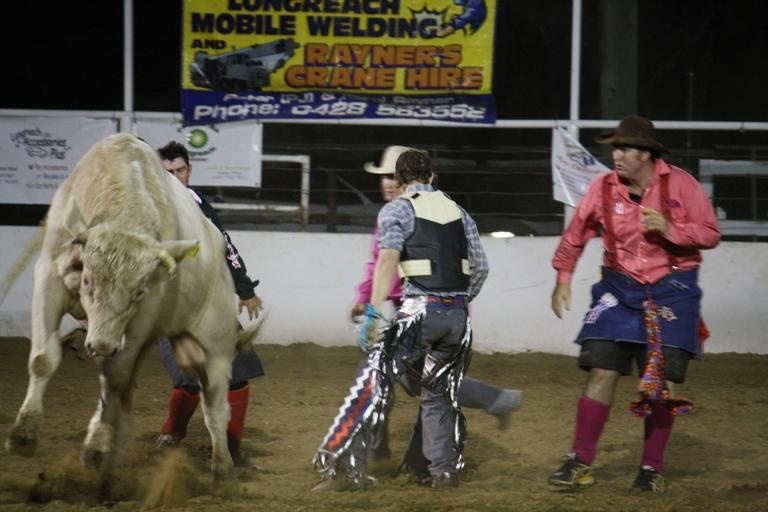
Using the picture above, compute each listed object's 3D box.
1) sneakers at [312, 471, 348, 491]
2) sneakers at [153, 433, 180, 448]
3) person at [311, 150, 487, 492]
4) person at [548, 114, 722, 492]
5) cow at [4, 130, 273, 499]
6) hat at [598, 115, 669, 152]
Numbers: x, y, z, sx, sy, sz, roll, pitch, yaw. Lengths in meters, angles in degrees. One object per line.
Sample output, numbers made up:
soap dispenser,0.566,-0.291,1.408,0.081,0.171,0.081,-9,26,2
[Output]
sneakers,-0.470,2.163,11.859,0.127,0.146,0.556,-17,-10,38
sneakers,-2.193,1.865,12.576,0.160,0.061,0.184,1,-1,13
person,0.268,0.588,11.870,1.438,3.181,0.703,3,6,-5
person,2.409,0.438,11.929,1.468,3.542,0.710,5,6,12
cow,-2.430,0.532,11.751,2.072,3.353,1.209,2,6,-15
hat,2.437,-1.140,11.934,0.529,0.184,0.387,13,3,-7
